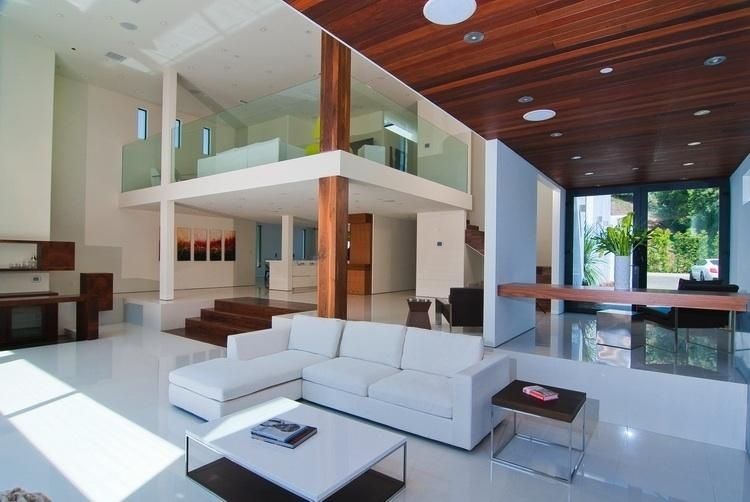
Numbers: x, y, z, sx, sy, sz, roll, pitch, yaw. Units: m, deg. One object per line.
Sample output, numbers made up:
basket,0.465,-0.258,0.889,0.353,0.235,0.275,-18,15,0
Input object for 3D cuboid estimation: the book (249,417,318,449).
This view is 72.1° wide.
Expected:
book,-1.013,1.997,5.659,0.346,0.079,0.349,5,6,27

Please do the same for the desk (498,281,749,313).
desk,3.455,0.638,7.301,3.032,0.376,0.750,-1,-1,32

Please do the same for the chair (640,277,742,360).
chair,4.901,0.969,8.210,1.268,1.185,1.276,1,0,16

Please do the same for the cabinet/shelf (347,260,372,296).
cabinet/shelf,-0.415,0.867,15.007,0.433,0.761,0.811,4,-3,-44

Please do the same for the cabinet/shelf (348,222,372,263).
cabinet/shelf,-0.296,-0.241,15.308,0.942,1.266,0.924,2,-3,-28

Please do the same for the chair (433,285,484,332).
chair,1.720,0.856,9.759,0.602,0.661,1.985,1,5,10

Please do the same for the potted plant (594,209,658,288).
potted plant,3.599,0.008,7.566,0.665,0.799,0.724,16,-19,-42

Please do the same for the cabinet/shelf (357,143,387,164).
cabinet/shelf,-0.031,-1.902,9.998,0.735,0.381,0.131,0,0,-45

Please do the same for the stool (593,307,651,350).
stool,3.862,1.221,8.017,0.761,0.517,0.756,2,-1,15

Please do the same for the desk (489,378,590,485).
desk,2.038,2.131,6.371,1.096,1.171,1.110,-1,0,20
